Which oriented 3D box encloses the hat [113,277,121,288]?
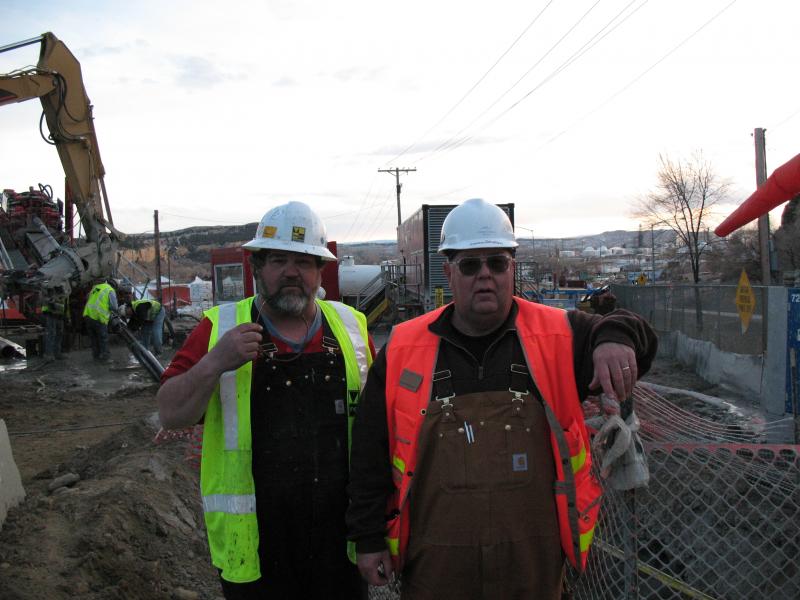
[{"bbox_3d":[-7.407,-0.442,15.987,0.290,0.295,0.289,-2,5,-36],"label":"hat"}]

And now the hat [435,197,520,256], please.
[{"bbox_3d":[0.463,-0.444,3.710,0.493,0.391,0.694,-3,-6,4],"label":"hat"}]

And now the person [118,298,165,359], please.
[{"bbox_3d":[-5.953,0.639,14.079,0.918,1.713,1.032,5,12,2],"label":"person"}]
